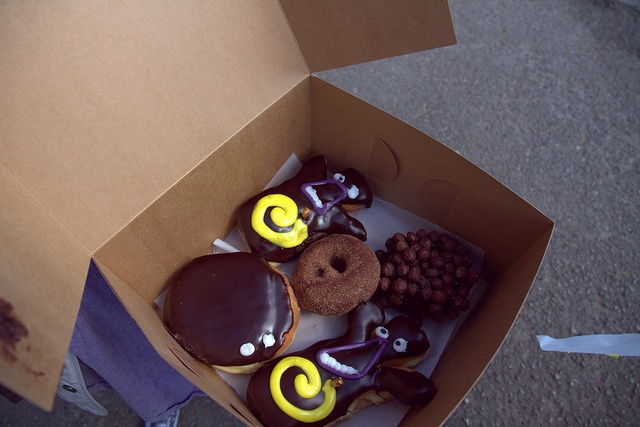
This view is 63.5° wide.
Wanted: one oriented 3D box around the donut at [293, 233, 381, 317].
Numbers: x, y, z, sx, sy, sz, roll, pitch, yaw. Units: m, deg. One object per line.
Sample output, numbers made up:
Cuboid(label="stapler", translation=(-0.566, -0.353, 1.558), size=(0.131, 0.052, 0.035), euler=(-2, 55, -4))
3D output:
Cuboid(label="donut", translation=(0.040, 0.167, 1.385), size=(0.212, 0.185, 0.237), euler=(0, 40, 0))

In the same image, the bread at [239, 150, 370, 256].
Cuboid(label="bread", translation=(-0.036, -0.020, 1.322), size=(0.273, 0.092, 0.232), euler=(-25, 82, -18))
